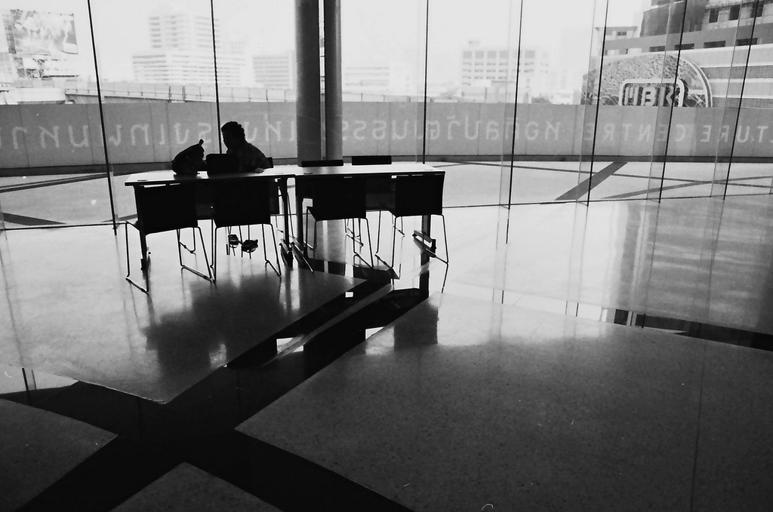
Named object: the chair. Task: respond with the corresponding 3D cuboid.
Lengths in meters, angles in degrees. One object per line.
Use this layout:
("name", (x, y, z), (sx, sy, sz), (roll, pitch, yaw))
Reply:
("chair", (-1.106, -0.559, 7.254), (3.452, 1.107, 0.985), (-3, 17, -12))
